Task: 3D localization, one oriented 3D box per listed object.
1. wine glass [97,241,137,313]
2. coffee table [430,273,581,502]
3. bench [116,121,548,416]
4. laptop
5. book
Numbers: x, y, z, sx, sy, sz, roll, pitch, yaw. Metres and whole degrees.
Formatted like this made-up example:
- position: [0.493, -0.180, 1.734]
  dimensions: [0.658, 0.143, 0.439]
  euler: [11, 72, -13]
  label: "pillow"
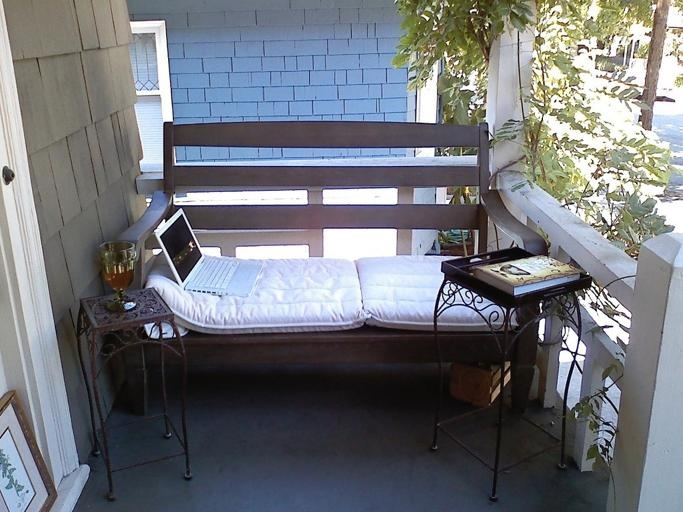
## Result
- position: [-0.826, 0.073, 1.921]
  dimensions: [0.135, 0.240, 0.133]
  euler: [8, 14, 33]
  label: "wine glass"
- position: [0.648, 0.490, 2.129]
  dimensions: [0.467, 0.957, 0.559]
  euler: [2, 16, -4]
  label: "coffee table"
- position: [0.019, 0.009, 2.553]
  dimensions: [1.750, 1.277, 1.045]
  euler: [-1, 16, -7]
  label: "bench"
- position: [-0.602, -0.032, 2.434]
  dimensions: [0.416, 0.330, 0.420]
  euler: [-4, 19, 0]
  label: "laptop"
- position: [0.661, 0.051, 1.908]
  dimensions: [0.340, 0.052, 0.289]
  euler: [-11, 21, -18]
  label: "book"
